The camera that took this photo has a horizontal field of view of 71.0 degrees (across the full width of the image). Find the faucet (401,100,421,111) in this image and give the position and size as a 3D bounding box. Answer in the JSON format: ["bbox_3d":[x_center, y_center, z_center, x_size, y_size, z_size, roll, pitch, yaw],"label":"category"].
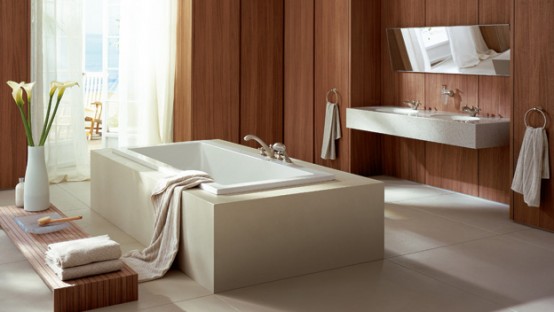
[{"bbox_3d":[2.041,-0.793,5.940,0.201,0.128,0.353,-4,15,-19],"label":"faucet"}]

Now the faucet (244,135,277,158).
[{"bbox_3d":[-0.169,-0.146,4.434,0.321,0.270,0.655,1,15,0],"label":"faucet"}]

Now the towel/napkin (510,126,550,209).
[{"bbox_3d":[2.896,0.138,4.404,0.201,0.929,0.307,-9,18,-33],"label":"towel/napkin"}]

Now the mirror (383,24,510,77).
[{"bbox_3d":[2.347,-1.483,5.431,0.187,0.621,1.707,-10,18,-35],"label":"mirror"}]

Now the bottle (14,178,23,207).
[{"bbox_3d":[-2.966,0.428,4.490,0.100,0.338,0.099,1,15,0],"label":"bottle"}]

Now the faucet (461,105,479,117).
[{"bbox_3d":[2.606,-0.597,5.264,0.134,0.103,0.204,-3,10,-17],"label":"faucet"}]

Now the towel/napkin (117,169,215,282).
[{"bbox_3d":[-1.160,0.660,3.884,0.806,0.873,0.860,-3,4,-26],"label":"towel/napkin"}]

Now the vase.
[{"bbox_3d":[-2.747,0.247,4.388,0.278,0.728,0.269,-8,18,-32],"label":"vase"}]
